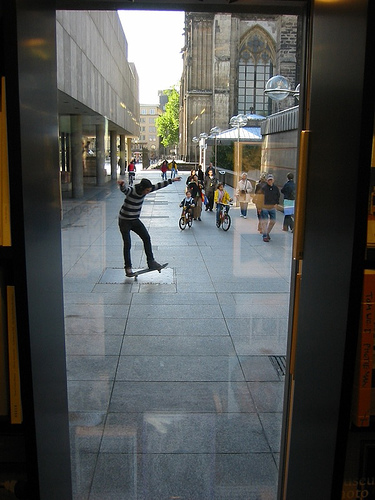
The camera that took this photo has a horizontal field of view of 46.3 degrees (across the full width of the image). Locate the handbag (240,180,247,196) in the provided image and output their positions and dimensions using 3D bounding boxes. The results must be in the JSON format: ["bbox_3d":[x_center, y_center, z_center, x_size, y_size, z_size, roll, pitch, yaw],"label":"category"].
[{"bbox_3d":[1.125,-1.278,8.877,0.133,0.208,0.168,10,18,17],"label":"handbag"}]

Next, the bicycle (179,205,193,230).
[{"bbox_3d":[-0.082,-0.820,12.298,0.269,0.421,0.609,2,1,13],"label":"bicycle"}]

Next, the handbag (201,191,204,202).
[{"bbox_3d":[0.437,-1.581,12.944,0.080,0.245,0.180,0,7,-1],"label":"handbag"}]

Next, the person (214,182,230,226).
[{"bbox_3d":[0.963,-1.258,12.084,0.407,1.201,1.136,1,7,5],"label":"person"}]

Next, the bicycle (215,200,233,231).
[{"bbox_3d":[1.003,-0.893,12.372,0.288,0.461,0.659,-1,6,-12],"label":"bicycle"}]

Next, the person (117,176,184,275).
[{"bbox_3d":[-0.767,-0.340,7.146,0.695,1.619,1.310,0,7,-7],"label":"person"}]

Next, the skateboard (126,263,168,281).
[{"bbox_3d":[-0.701,0.387,7.576,0.435,0.090,0.095,-22,22,-14],"label":"skateboard"}]
